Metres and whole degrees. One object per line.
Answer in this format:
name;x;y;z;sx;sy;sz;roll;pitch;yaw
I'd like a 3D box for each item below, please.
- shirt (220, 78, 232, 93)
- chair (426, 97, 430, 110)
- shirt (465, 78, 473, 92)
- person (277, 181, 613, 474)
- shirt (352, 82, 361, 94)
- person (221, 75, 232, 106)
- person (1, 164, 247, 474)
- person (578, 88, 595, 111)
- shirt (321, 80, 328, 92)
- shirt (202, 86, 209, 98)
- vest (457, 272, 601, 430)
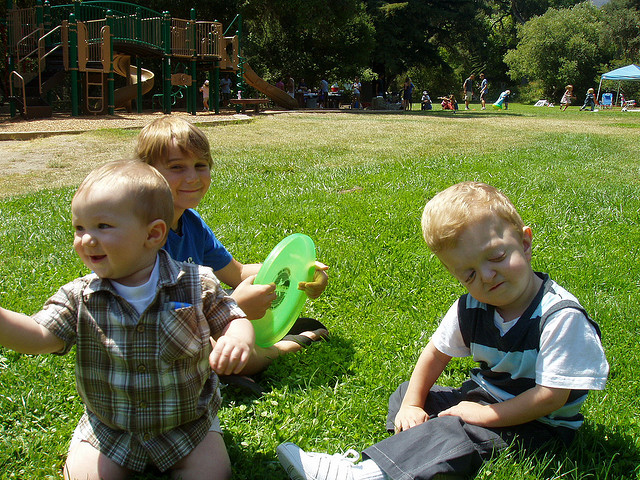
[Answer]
shirt;-4.257;-6.841;25.784;0.375;0.623;0.541;0;9;-13
chair;6.256;-7.603;33.302;0.234;0.651;0.348;-2;-3;9
shirt;8.496;-8.784;32.847;0.245;0.656;0.959;5;9;21
person;0.663;0.375;3.078;1.540;1.488;1.138;1;1;-19
shirt;2.029;-8.307;31.848;0.268;0.641;0.812;2;9;0
person;-4.307;-6.707;26.151;0.412;1.277;1.435;0;9;-11
person;-0.818;0.378;2.577;0.964;1.397;0.283;1;8;-5
person;16.247;-8.318;34.697;0.530;1.199;2.157;5;9;20
shirt;0.221;-8.483;32.078;0.263;0.643;0.482;0;9;-15
shirt;-4.729;-6.006;23.620;0.167;0.430;0.490;-2;10;-26
vest;0.994;0.569;2.833;0.466;0.739;0.834;2;2;-26
